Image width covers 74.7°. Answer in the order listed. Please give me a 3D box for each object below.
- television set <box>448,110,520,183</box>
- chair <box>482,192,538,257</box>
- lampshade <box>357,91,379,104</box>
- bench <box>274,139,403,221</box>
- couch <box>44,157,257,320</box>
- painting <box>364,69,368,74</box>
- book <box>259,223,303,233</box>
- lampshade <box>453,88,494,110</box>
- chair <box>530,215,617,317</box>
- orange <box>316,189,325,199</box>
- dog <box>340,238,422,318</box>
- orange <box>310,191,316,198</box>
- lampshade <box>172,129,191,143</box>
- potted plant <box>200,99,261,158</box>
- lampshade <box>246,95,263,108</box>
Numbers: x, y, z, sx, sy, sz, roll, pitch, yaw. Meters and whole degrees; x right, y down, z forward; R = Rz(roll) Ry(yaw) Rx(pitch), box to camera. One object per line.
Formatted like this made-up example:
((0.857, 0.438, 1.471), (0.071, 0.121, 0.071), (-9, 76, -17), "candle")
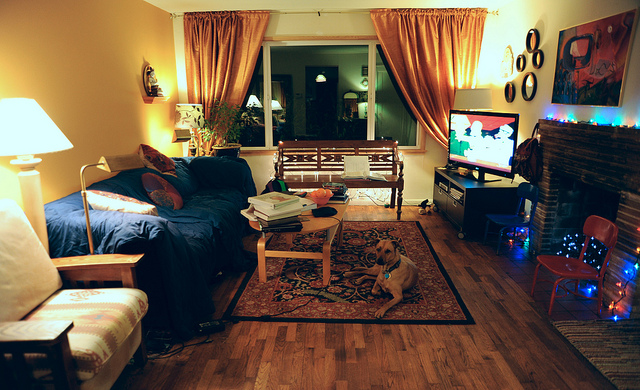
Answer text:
((2.249, -0.687, 5.790), (0.260, 0.947, 1.231), (-7, 14, -17), "television set")
((2.434, 0.307, 5.352), (0.607, 0.766, 0.782), (1, 13, 13), "chair")
((0.774, -1.621, 6.890), (0.361, 0.243, 0.185), (3, 21, 11), "lampshade")
((0.275, -0.223, 6.351), (1.866, 1.147, 0.640), (-1, 14, 1), "bench")
((-1.905, 0.231, 5.281), (1.570, 1.042, 3.214), (0, 15, 3), "couch")
((0.752, -2.012, 6.821), (0.095, 0.089, 0.050), (2, 17, 1), "painting")
((-0.407, 0.336, 4.368), (0.438, 0.063, 0.126), (-4, 13, -7), "book")
((2.197, -1.360, 5.981), (0.399, 0.402, 0.390), (5, 14, 16), "lampshade")
((2.561, 0.694, 4.239), (0.608, 0.916, 0.553), (2, 13, 11), "chair")
((0.004, -0.017, 4.877), (0.093, 0.106, 0.087), (0, 3, 7), "orange")
((0.676, 0.813, 4.344), (0.676, 0.689, 0.657), (0, 13, 10), "dog")
((-0.078, -0.014, 4.942), (0.060, 0.068, 0.059), (-5, -5, 1), "orange")
((-2.046, -0.888, 6.200), (0.271, 0.182, 0.193), (-7, 21, -37), "lampshade")
((-1.427, -1.184, 6.693), (0.996, 0.689, 0.455), (-6, 14, -15), "potted plant")
((-1.086, -1.538, 6.881), (0.270, 0.206, 0.095), (-5, 14, -11), "lampshade")
